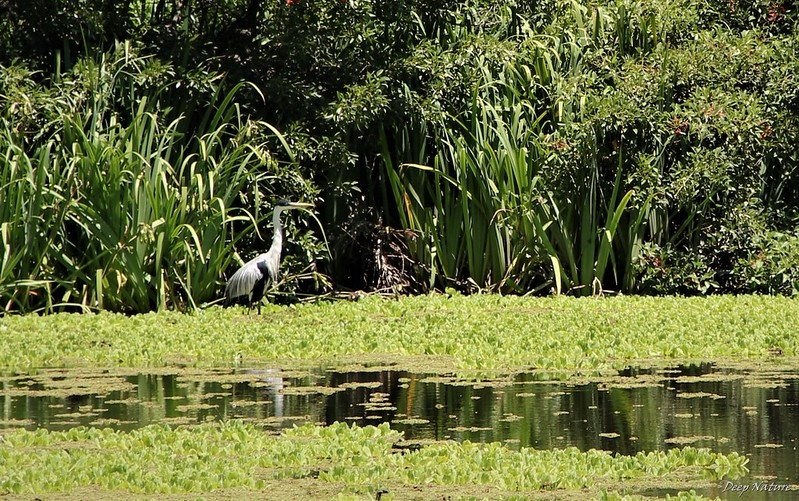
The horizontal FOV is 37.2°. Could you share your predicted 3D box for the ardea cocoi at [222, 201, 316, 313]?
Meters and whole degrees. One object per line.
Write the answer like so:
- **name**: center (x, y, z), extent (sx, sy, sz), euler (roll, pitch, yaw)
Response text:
- **ardea cocoi**: center (-1.955, 0.094, 16.750), extent (0.509, 1.364, 1.093), euler (-1, 1, 32)
